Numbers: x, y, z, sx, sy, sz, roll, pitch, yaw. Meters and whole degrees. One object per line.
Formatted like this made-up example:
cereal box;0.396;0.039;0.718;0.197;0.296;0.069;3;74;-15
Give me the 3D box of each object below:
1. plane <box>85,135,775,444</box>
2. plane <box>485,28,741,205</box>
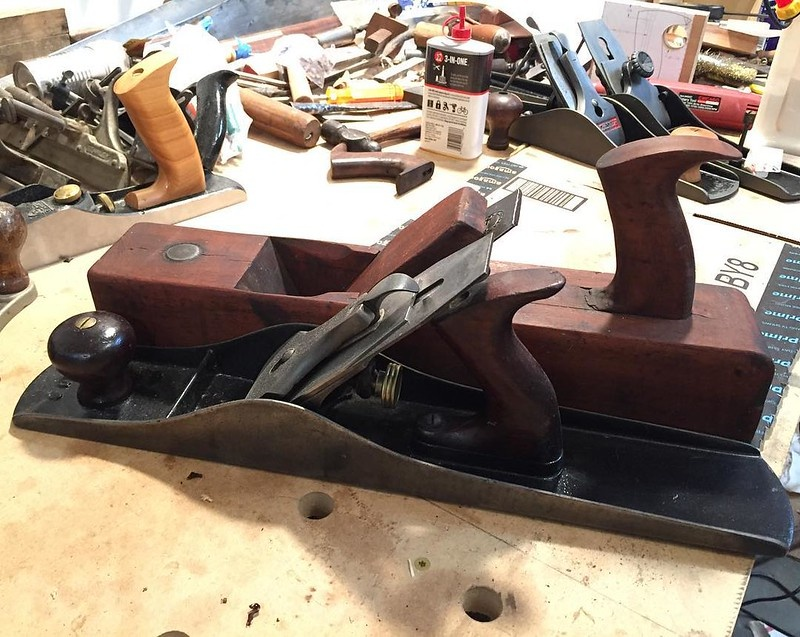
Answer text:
plane;0.009;-0.130;1.537;1.516;0.547;0.317;6;39;20
plane;0.676;-0.651;2.220;0.794;0.321;0.241;28;45;27
